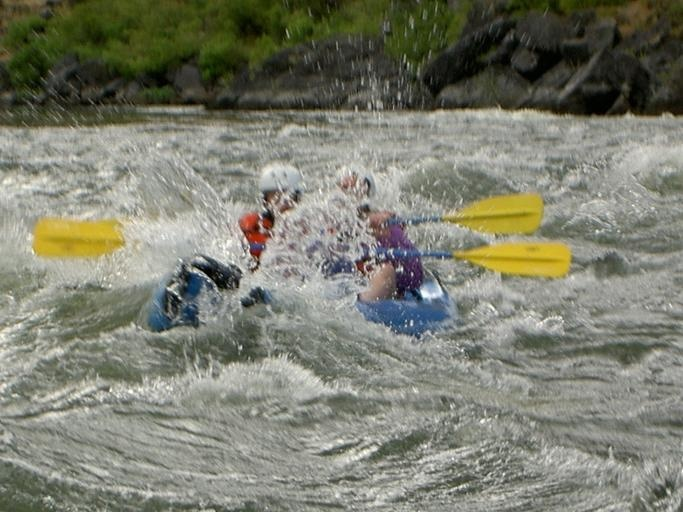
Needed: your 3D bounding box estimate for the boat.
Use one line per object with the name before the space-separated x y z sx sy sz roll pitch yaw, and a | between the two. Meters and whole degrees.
boat | -0.598 0.637 23.907 4.552 1.575 1.424 -8 45 2
